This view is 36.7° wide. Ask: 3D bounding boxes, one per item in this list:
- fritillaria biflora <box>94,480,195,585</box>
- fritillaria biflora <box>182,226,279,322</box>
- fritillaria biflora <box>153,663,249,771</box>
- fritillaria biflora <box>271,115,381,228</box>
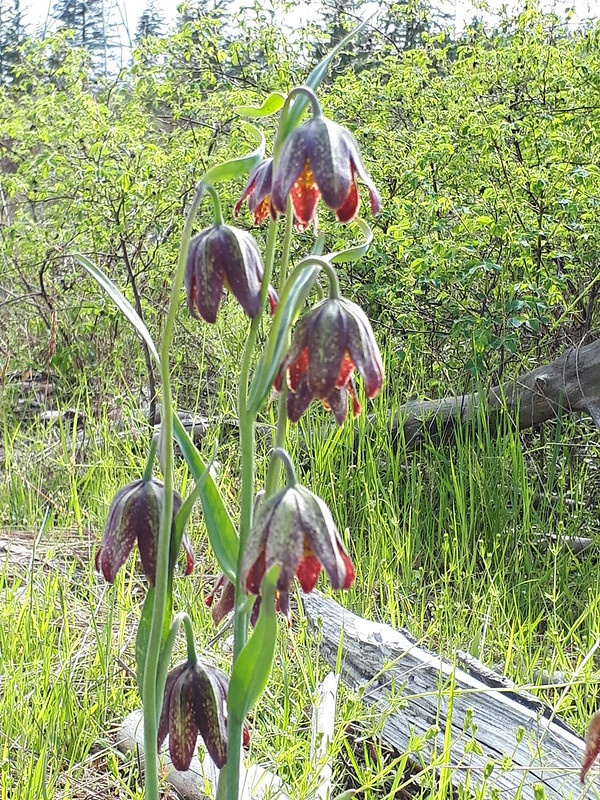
[{"bbox_3d":[-0.228,0.198,1.319,0.107,0.167,0.123,14,-14,-11],"label":"fritillaria biflora"},{"bbox_3d":[-0.110,-0.200,1.255,0.098,0.164,0.131,-5,-5,-9],"label":"fritillaria biflora"},{"bbox_3d":[-0.151,0.472,1.443,0.118,0.233,0.124,1,-3,28],"label":"fritillaria biflora"},{"bbox_3d":[0.029,-0.280,1.210,0.114,0.187,0.149,-5,-18,-4],"label":"fritillaria biflora"}]
